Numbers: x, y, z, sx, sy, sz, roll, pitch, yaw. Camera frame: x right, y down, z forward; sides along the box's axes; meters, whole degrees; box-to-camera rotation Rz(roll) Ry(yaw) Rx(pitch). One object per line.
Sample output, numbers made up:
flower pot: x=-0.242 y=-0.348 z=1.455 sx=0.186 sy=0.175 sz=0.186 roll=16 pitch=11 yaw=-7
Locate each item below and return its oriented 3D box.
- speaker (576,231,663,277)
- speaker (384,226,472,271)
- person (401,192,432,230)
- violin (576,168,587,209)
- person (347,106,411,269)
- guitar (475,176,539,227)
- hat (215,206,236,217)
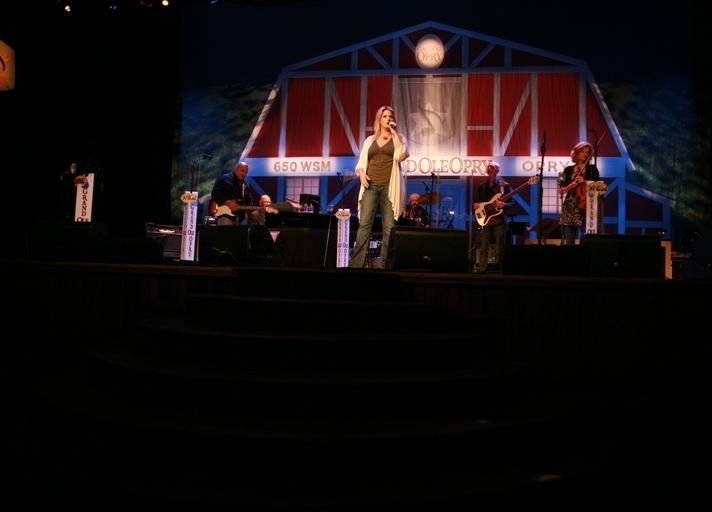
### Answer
speaker: x=2.406 y=-0.139 z=6.366 sx=0.689 sy=0.450 sz=0.522 roll=1 pitch=34 yaw=18
speaker: x=0.681 y=-0.044 z=6.540 sx=0.569 sy=0.353 sz=0.444 roll=1 pitch=-3 yaw=-11
person: x=0.951 y=-0.618 z=11.361 sx=0.446 sy=0.768 sz=0.398 roll=-1 pitch=-16 yaw=13
violin: x=2.737 y=-0.790 z=8.550 sx=0.125 sy=0.407 sz=0.206 roll=-5 pitch=8 yaw=13
person: x=0.245 y=-0.723 z=7.357 sx=0.521 sy=1.525 sz=0.536 roll=4 pitch=1 yaw=5
guitar: x=2.119 y=-0.747 z=10.064 sx=0.884 sy=0.689 sz=0.494 roll=2 pitch=2 yaw=-39
hat: x=-1.875 y=-0.630 z=10.033 sx=0.259 sy=0.115 sz=0.090 roll=5 pitch=2 yaw=16
